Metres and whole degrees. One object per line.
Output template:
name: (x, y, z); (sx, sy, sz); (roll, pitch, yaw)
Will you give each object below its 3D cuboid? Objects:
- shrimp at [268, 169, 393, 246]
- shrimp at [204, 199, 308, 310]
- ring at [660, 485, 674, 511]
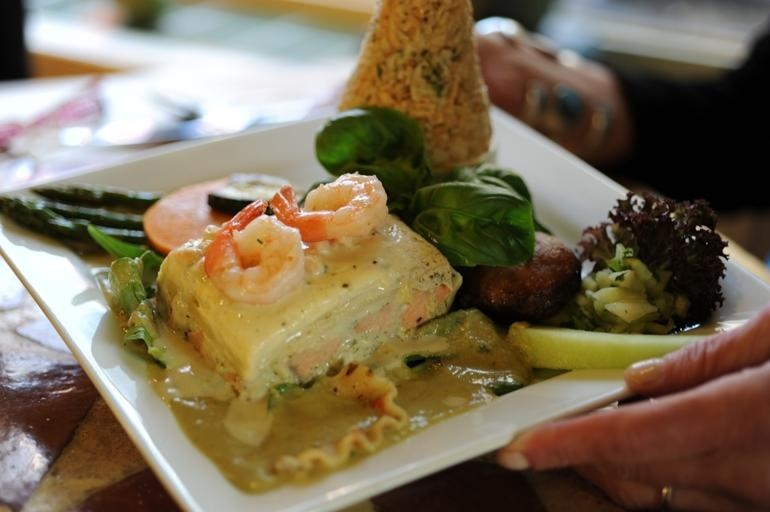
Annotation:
shrimp: (-0.216, -0.195, 2.969); (0.338, 0.125, 0.318); (-12, 30, 4)
shrimp: (-0.511, -0.016, 2.864); (0.371, 0.219, 0.383); (-36, 64, -29)
ring: (1.053, 0.899, 2.737); (0.024, 0.064, 0.085); (2, 92, 28)
